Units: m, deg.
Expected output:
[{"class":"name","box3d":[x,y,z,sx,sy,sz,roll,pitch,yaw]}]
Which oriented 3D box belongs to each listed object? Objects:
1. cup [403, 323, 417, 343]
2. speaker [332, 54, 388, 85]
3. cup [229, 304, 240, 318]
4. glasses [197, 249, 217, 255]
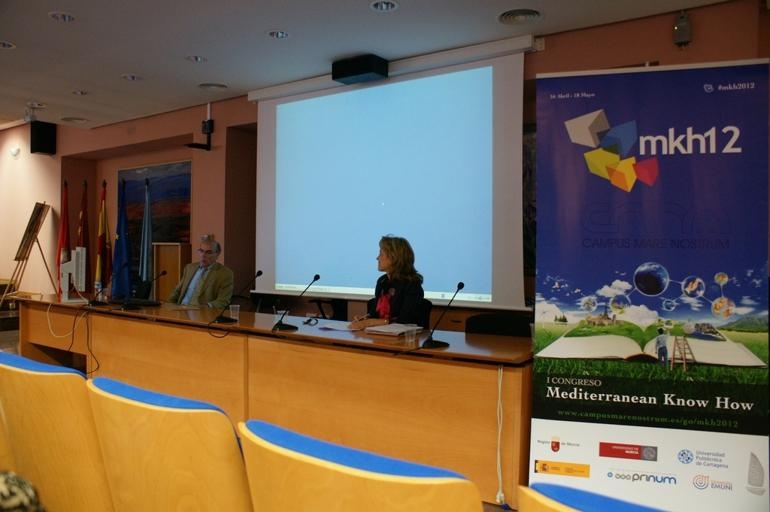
[{"class":"cup","box3d":[0.162,0.480,3.567,0.067,0.065,0.085,3,-6,-15]},{"class":"speaker","box3d":[-0.257,-1.850,5.594,0.427,0.233,0.192,-1,9,30]},{"class":"cup","box3d":[-1.103,0.404,4.190,0.096,0.156,0.099,0,-4,0]},{"class":"glasses","box3d":[-1.738,-0.055,5.585,0.184,0.058,0.157,3,-4,-5]}]
